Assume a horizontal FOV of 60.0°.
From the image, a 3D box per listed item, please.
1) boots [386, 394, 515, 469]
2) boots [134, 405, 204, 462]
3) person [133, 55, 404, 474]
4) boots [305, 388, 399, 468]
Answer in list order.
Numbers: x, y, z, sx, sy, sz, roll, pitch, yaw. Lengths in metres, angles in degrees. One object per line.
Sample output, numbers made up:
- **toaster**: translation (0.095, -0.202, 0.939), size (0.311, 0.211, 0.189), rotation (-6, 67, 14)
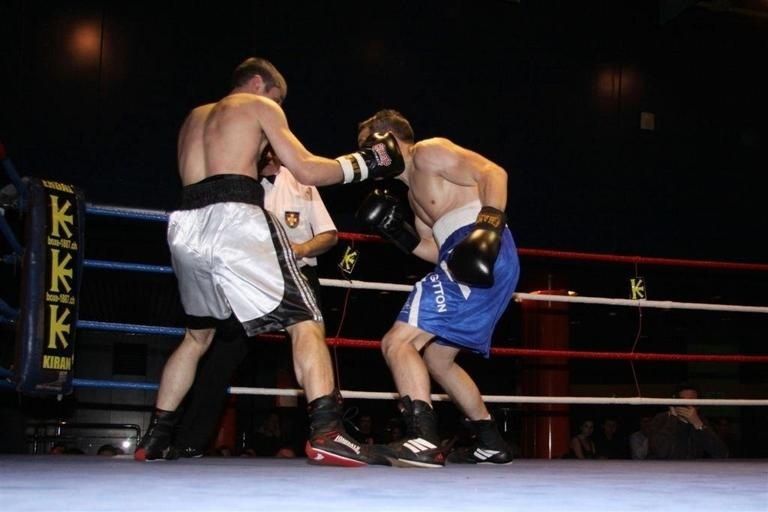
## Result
- **boots**: translation (0.232, 1.053, 3.696), size (0.681, 0.325, 0.504), rotation (17, -27, -37)
- **boots**: translation (-1.179, 0.988, 3.643), size (0.161, 0.253, 0.420), rotation (8, -11, 23)
- **person**: translation (-0.687, 0.107, 3.458), size (1.227, 1.876, 0.545), rotation (-5, -14, 22)
- **boots**: translation (-0.227, 0.851, 3.272), size (0.305, 0.353, 0.155), rotation (3, -13, -12)
